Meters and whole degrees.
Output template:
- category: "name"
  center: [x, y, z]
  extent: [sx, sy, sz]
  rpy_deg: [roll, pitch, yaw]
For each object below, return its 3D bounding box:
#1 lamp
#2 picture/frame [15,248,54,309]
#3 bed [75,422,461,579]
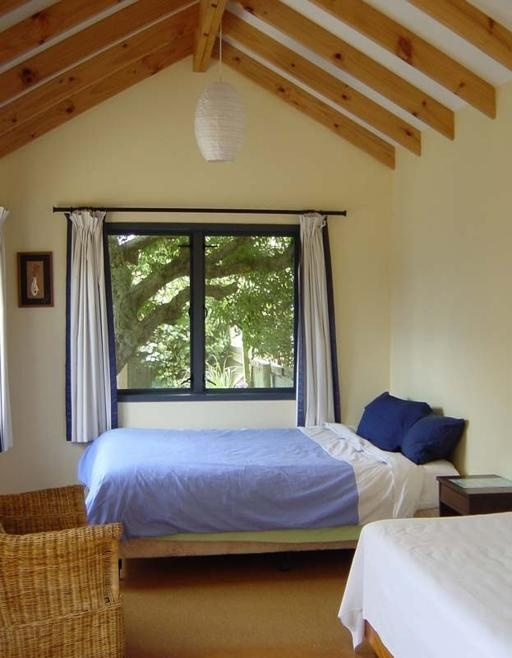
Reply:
- category: "lamp"
  center: [-0.185, -1.225, 3.079]
  extent: [0.275, 0.650, 0.268]
  rpy_deg: [-5, 13, -27]
- category: "picture/frame"
  center: [-1.660, -0.365, 4.328]
  extent: [0.259, 0.411, 0.012]
  rpy_deg: [-6, 12, -43]
- category: "bed"
  center: [0.016, 0.886, 3.208]
  extent: [1.542, 0.355, 1.007]
  rpy_deg: [-1, 4, -9]
